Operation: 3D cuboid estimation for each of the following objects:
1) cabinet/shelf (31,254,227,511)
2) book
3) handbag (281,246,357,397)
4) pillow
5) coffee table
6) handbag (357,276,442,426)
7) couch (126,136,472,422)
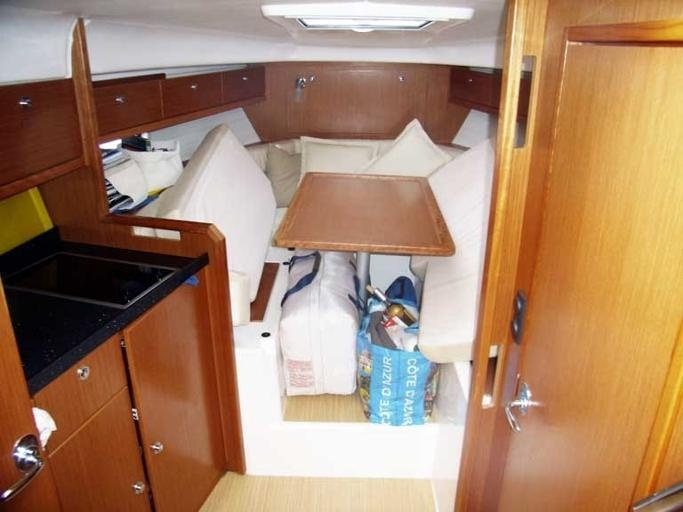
[{"bbox_3d":[-0.678,0.365,1.593,0.518,0.818,0.546,-5,41,-7],"label":"cabinet/shelf"},{"bbox_3d":[-0.998,-0.387,2.294,0.131,0.402,0.296,-9,-1,16],"label":"book"},{"bbox_3d":[-0.104,0.334,2.429,0.344,0.533,0.552,1,17,-1],"label":"handbag"},{"bbox_3d":[0.212,-0.690,3.471,0.831,0.358,0.565,-3,64,-8],"label":"pillow"},{"bbox_3d":[0.094,-0.046,2.512,0.676,0.658,0.682,2,43,-2],"label":"coffee table"},{"bbox_3d":[0.237,0.418,2.278,0.355,0.523,0.408,-2,17,-9],"label":"handbag"},{"bbox_3d":[-0.179,0.171,2.897,1.155,1.084,1.685,-4,44,1],"label":"couch"}]
